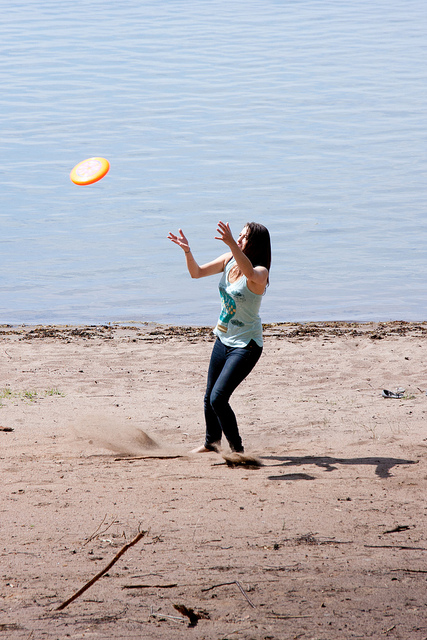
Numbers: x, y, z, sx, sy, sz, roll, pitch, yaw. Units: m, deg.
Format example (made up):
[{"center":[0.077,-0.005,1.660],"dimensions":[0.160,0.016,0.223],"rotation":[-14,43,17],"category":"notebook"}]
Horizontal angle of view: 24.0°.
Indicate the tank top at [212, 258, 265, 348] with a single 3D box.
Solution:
[{"center":[0.179,-0.124,6.940],"dimensions":[0.334,0.651,0.631],"rotation":[0,9,0],"category":"tank top"}]
